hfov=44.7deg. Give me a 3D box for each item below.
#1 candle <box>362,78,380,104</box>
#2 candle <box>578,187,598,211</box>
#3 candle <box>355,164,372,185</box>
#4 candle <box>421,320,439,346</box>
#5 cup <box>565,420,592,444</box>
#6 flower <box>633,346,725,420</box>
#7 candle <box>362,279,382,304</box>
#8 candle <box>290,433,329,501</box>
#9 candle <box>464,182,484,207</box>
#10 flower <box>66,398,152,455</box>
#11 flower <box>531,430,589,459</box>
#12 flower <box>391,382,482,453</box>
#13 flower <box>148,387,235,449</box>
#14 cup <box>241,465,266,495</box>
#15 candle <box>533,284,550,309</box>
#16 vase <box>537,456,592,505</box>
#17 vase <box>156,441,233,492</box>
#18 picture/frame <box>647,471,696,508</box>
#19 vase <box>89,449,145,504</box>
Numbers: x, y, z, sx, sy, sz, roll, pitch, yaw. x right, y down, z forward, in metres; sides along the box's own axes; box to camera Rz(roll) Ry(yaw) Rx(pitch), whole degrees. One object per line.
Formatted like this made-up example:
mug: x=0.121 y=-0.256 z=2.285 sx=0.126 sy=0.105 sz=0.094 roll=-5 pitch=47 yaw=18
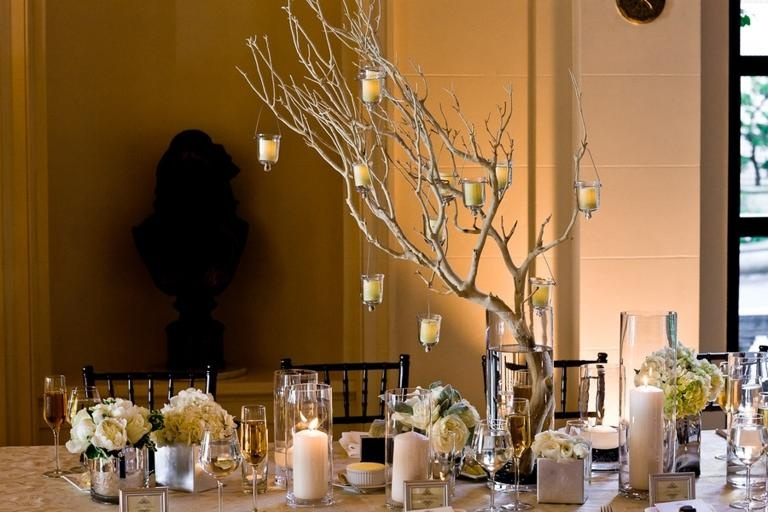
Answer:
candle: x=-0.051 y=-0.672 z=3.810 sx=0.079 sy=0.101 sz=0.087 roll=0 pitch=-2 yaw=-14
candle: x=0.880 y=-0.247 z=4.055 sx=0.083 sy=0.108 sz=0.089 roll=0 pitch=-5 yaw=-5
candle: x=-0.094 y=-0.338 z=3.971 sx=0.063 sy=0.105 sz=0.071 roll=-3 pitch=-7 yaw=5
candle: x=0.213 y=0.345 z=4.289 sx=0.096 sy=0.125 sz=0.103 roll=1 pitch=2 yaw=24
cup: x=0.783 y=0.701 z=3.720 sx=0.081 sy=0.089 sz=0.086 roll=-1 pitch=-1 yaw=0
flower: x=1.201 y=0.470 z=3.783 sx=0.257 sy=0.301 sz=0.326 roll=-2 pitch=4 yaw=1
candle: x=-0.048 y=0.155 z=4.210 sx=0.093 sy=0.119 sz=0.098 roll=-1 pitch=-2 yaw=22
candle: x=-0.277 y=0.789 z=3.553 sx=0.139 sy=0.267 sz=0.080 roll=-2 pitch=-7 yaw=-7
candle: x=0.364 y=-0.249 z=3.811 sx=0.083 sy=0.107 sz=0.088 roll=0 pitch=-5 yaw=-9
flower: x=-1.048 y=0.651 z=3.565 sx=0.222 sy=0.132 sz=0.242 roll=-20 pitch=16 yaw=-23
flower: x=0.691 y=0.729 z=3.610 sx=0.122 sy=0.082 sz=0.128 roll=2 pitch=10 yaw=-1
flower: x=0.206 y=0.628 z=3.634 sx=0.261 sy=0.288 sz=0.155 roll=-6 pitch=-12 yaw=-19
flower: x=-0.744 y=0.632 z=3.646 sx=0.229 sy=0.183 sz=0.246 roll=-1 pitch=-2 yaw=1
cup: x=-0.509 y=0.883 z=3.720 sx=0.095 sy=0.123 sz=0.103 roll=0 pitch=-6 yaw=0
candle: x=0.713 y=0.183 z=4.196 sx=0.069 sy=0.104 sz=0.118 roll=-8 pitch=-9 yaw=33
vase: x=0.691 y=0.865 z=3.599 sx=0.162 sy=0.161 sz=0.171 roll=0 pitch=-1 yaw=9
vase: x=-0.783 y=0.810 z=3.742 sx=0.197 sy=0.166 sz=0.194 roll=-3 pitch=-7 yaw=34
picture/frame: x=1.082 y=0.868 z=3.480 sx=0.121 sy=0.138 sz=0.010 roll=-1 pitch=-9 yaw=-1
vase: x=-1.020 y=0.830 z=3.595 sx=0.177 sy=0.226 sz=0.206 roll=1 pitch=-6 yaw=-6
